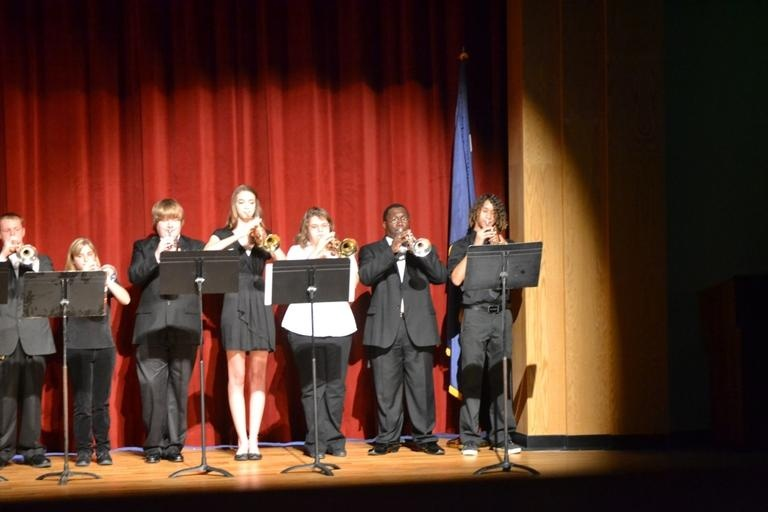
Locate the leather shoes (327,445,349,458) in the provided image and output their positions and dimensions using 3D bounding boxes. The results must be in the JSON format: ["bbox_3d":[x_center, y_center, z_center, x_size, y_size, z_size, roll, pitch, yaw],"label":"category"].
[{"bbox_3d":[-0.428,1.820,8.170,0.075,0.092,0.213,7,-18,-35],"label":"leather shoes"}]

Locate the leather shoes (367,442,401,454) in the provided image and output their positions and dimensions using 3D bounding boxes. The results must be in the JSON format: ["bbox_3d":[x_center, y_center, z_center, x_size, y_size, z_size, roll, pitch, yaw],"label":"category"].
[{"bbox_3d":[-0.006,1.801,8.302,0.300,0.141,0.111,6,-12,-20],"label":"leather shoes"}]

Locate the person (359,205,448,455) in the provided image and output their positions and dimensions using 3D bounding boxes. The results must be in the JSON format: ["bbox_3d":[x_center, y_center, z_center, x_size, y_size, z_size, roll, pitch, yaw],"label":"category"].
[{"bbox_3d":[0.158,0.686,8.270,0.838,2.345,0.703,-8,-11,21],"label":"person"}]

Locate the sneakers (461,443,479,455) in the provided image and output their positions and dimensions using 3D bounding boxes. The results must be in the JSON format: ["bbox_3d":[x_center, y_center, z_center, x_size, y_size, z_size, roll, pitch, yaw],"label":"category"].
[{"bbox_3d":[0.787,1.792,8.155,0.156,0.112,0.121,-5,-11,3],"label":"sneakers"}]

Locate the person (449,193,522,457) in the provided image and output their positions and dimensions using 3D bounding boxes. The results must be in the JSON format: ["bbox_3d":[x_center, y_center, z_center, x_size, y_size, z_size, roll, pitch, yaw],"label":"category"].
[{"bbox_3d":[0.917,0.640,8.338,0.681,2.445,0.790,-8,-11,24],"label":"person"}]

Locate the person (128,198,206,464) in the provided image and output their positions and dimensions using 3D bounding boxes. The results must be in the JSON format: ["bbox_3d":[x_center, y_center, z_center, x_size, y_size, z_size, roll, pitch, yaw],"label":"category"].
[{"bbox_3d":[-2.045,0.674,8.127,0.715,2.403,0.603,-10,-12,31],"label":"person"}]

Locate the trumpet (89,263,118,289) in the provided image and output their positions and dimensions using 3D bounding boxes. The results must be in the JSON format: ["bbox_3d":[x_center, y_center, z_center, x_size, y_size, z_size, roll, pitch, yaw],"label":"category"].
[{"bbox_3d":[-2.587,0.157,8.125,0.200,0.265,0.121,1,1,8],"label":"trumpet"}]

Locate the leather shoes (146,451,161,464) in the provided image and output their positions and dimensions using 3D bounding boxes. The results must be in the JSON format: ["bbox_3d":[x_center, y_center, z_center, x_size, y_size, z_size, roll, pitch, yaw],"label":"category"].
[{"bbox_3d":[-2.122,1.831,8.074,0.143,0.127,0.107,-2,-11,-12],"label":"leather shoes"}]

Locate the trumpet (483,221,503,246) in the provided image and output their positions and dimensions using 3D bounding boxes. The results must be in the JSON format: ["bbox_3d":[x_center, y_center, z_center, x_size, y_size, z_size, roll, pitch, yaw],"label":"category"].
[{"bbox_3d":[1.016,-0.205,8.193,0.138,0.202,0.067,-6,31,11],"label":"trumpet"}]

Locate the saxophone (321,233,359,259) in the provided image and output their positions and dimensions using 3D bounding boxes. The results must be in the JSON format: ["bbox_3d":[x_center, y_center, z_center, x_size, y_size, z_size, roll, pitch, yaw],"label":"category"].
[{"bbox_3d":[-0.408,-0.085,8.049,0.289,0.261,0.430,-3,-11,-7],"label":"saxophone"}]

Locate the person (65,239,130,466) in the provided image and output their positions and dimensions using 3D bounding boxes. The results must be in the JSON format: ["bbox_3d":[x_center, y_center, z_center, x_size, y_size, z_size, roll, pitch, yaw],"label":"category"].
[{"bbox_3d":[-2.662,0.874,8.158,0.527,2.078,0.615,-1,-11,-16],"label":"person"}]

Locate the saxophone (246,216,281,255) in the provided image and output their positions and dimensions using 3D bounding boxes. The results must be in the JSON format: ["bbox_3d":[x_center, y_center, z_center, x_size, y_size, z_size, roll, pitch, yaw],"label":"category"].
[{"bbox_3d":[-1.133,-0.187,8.188,0.173,0.173,0.392,36,-2,-35],"label":"saxophone"}]

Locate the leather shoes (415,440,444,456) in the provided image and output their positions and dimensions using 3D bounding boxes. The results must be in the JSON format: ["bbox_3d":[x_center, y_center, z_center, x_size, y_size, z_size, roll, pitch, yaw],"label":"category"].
[{"bbox_3d":[0.427,1.789,8.212,0.273,0.130,0.113,-8,-9,40],"label":"leather shoes"}]

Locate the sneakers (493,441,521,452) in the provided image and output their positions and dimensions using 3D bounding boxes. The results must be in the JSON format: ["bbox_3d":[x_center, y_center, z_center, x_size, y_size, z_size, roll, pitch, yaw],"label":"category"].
[{"bbox_3d":[1.150,1.784,8.277,0.250,0.111,0.110,-4,-10,30],"label":"sneakers"}]

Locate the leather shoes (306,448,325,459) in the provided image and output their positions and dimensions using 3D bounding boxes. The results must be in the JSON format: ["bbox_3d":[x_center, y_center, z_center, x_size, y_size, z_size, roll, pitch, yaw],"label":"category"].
[{"bbox_3d":[-0.661,1.841,8.175,0.083,0.097,0.237,-2,-12,-36],"label":"leather shoes"}]

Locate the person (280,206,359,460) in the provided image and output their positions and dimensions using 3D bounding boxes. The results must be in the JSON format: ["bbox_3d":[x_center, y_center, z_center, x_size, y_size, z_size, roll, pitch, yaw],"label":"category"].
[{"bbox_3d":[-0.583,0.669,8.167,0.730,2.339,0.678,-5,-10,8],"label":"person"}]

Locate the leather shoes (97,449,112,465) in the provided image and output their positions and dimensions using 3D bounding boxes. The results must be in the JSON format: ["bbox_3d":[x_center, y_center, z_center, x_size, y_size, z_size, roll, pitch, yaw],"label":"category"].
[{"bbox_3d":[-2.576,1.843,8.081,0.159,0.143,0.165,-2,-11,-12],"label":"leather shoes"}]

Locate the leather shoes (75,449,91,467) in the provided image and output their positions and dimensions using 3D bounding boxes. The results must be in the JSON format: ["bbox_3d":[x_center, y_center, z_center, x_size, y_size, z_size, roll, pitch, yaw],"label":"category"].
[{"bbox_3d":[-2.746,1.836,8.029,0.144,0.155,0.171,0,-11,-21],"label":"leather shoes"}]

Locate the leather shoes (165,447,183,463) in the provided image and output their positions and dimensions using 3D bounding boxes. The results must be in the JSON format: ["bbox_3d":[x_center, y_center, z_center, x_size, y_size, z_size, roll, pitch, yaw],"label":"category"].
[{"bbox_3d":[-1.936,1.822,8.096,0.084,0.094,0.214,8,-13,-36],"label":"leather shoes"}]

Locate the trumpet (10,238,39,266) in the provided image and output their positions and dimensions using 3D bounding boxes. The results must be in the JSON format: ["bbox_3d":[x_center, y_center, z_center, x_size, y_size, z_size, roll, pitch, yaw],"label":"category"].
[{"bbox_3d":[-3.257,-0.024,7.937,0.158,0.176,0.305,6,-6,-21],"label":"trumpet"}]

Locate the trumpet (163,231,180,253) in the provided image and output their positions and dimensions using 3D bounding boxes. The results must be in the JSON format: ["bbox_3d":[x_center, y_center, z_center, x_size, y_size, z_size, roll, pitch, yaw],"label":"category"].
[{"bbox_3d":[-1.948,-0.137,8.104,0.097,0.176,0.199,-3,-11,-6],"label":"trumpet"}]
